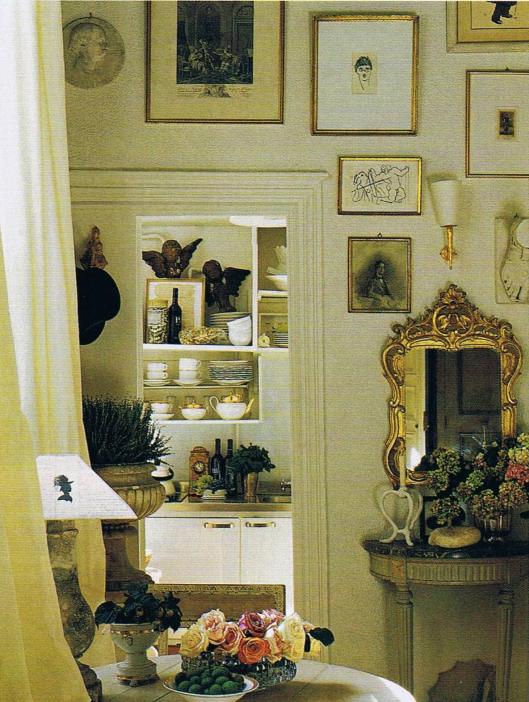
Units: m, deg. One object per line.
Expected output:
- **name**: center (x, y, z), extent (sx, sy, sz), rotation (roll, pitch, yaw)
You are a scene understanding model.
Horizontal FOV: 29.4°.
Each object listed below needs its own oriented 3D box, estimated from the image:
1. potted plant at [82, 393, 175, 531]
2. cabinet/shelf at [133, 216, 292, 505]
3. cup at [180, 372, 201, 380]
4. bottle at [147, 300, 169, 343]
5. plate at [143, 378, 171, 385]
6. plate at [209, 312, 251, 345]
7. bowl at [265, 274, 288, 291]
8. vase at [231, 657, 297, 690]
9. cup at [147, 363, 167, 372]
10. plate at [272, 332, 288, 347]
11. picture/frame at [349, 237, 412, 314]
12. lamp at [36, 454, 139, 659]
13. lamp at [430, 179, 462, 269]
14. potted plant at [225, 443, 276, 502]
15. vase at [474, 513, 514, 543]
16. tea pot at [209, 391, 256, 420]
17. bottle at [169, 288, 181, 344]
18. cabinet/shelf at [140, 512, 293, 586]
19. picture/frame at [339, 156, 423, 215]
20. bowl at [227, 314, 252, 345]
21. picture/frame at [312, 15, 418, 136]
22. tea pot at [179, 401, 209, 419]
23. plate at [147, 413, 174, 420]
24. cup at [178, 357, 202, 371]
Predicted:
- **potted plant**: center (-0.617, 0.406, 3.830), extent (0.462, 0.516, 0.411), rotation (-4, -12, 2)
- **cabinet/shelf**: center (-0.239, 0.113, 5.609), extent (1.230, 1.616, 0.551), rotation (1, 10, 6)
- **cup**: center (-0.418, 0.144, 5.657), extent (0.129, 0.063, 0.044), rotation (-3, 4, -31)
- **bottle**: center (-0.578, -0.157, 5.418), extent (0.119, 0.234, 0.302), rotation (-1, 4, -5)
- **plate**: center (-0.613, 0.182, 5.739), extent (0.149, 0.043, 0.081), rotation (-1, 3, -5)
- **plate**: center (-0.182, -0.123, 5.520), extent (0.232, 0.128, 0.207), rotation (1, -3, -25)
- **bowl**: center (0.079, -0.381, 5.673), extent (0.109, 0.089, 0.124), rotation (0, 4, 16)
- **vase**: center (0.019, 0.885, 2.779), extent (0.111, 0.041, 0.122), rotation (11, -17, -42)
- **cup**: center (-0.610, 0.099, 5.710), extent (0.087, 0.028, 0.061), rotation (3, -5, -12)
- **plate**: center (0.082, -0.060, 5.628), extent (0.110, 0.079, 0.026), rotation (1, -2, -4)
- **picture/frame**: center (0.478, -0.319, 4.302), extent (0.432, 0.384, 0.029), rotation (0, -3, -4)
- **lamp**: center (-0.474, 0.545, 2.701), extent (0.249, 0.545, 0.203), rotation (-2, 4, -11)
- **lamp**: center (0.768, -0.534, 4.274), extent (0.127, 0.365, 0.148), rotation (-1, 4, 2)
- **potted plant**: center (-0.093, 0.671, 5.523), extent (0.267, 0.245, 0.302), rotation (8, -11, -41)
- **vase**: center (0.960, 0.734, 4.186), extent (0.162, 0.097, 0.122), rotation (2, -2, -25)
- **tea pot**: center (-0.202, 0.320, 5.668), extent (0.258, 0.130, 0.158), rotation (0, 2, 7)
- **bottle**: center (-0.493, -0.189, 5.504), extent (0.083, 0.300, 0.214), rotation (-2, 4, -5)
- **cabinet/shelf**: center (-0.224, 1.011, 5.116), extent (0.765, 0.283, 0.364), rotation (0, -8, 2)
- **picture/frame**: center (0.488, -0.709, 4.319), extent (0.443, 0.249, 0.016), rotation (-6, 12, -30)
- **bowl**: center (-0.121, -0.114, 5.449), extent (0.183, 0.172, 0.165), rotation (1, -1, 0)
- **picture/frame**: center (0.420, -1.197, 4.289), extent (0.668, 0.548, 0.067), rotation (0, 2, -3)
- **tea pot**: center (-0.392, 0.341, 5.646), extent (0.128, 0.068, 0.108), rotation (1, 3, 42)
- **plate**: center (-0.563, 0.367, 5.552), extent (0.115, 0.022, 0.100), rotation (1, -5, -13)
- **cup**: center (-0.429, 0.074, 5.678), extent (0.113, 0.061, 0.075), rotation (2, -3, -4)
